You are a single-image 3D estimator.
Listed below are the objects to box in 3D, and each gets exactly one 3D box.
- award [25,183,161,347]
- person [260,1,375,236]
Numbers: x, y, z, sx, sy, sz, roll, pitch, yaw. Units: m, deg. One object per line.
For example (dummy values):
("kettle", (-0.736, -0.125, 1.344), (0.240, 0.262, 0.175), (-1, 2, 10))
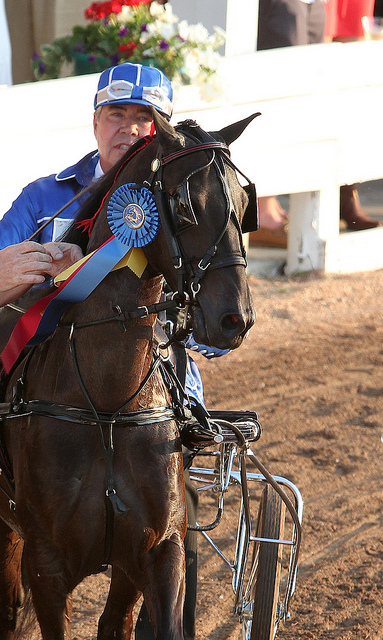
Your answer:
("award", (-0.234, -0.111, 1.718), (0.367, 0.407, 0.112), (11, 18, 34))
("person", (1.004, -1.819, 6.783), (1.279, 2.156, 0.708), (-10, 19, -37))
